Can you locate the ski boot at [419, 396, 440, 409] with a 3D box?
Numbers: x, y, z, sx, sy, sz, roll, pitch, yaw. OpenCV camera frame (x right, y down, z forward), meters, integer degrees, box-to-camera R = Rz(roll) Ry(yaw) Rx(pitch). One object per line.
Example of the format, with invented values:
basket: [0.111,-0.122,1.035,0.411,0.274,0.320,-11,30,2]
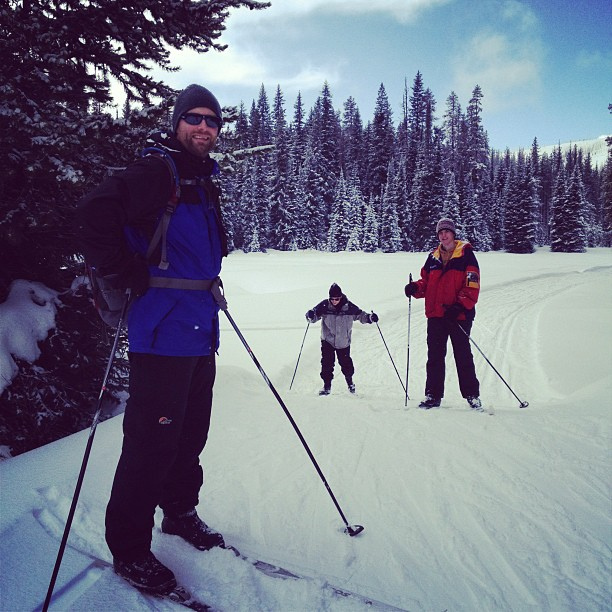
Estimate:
ski boot: [1.354,1.070,7.170,0.292,0.122,0.097,12,-16,-33]

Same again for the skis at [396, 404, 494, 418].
skis: [1.424,1.069,6.640,0.976,0.070,0.299,1,0,32]

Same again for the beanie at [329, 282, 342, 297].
beanie: [0.409,-0.236,9.286,0.163,0.218,0.402,-1,10,1]

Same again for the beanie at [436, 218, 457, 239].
beanie: [1.642,-0.925,7.621,0.230,0.234,0.275,0,-7,12]

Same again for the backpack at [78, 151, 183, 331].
backpack: [-0.993,-0.365,3.750,0.579,1.024,0.334,-3,10,-14]

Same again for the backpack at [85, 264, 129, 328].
backpack: [-1.179,-0.046,3.757,0.287,0.356,0.129,6,12,37]
